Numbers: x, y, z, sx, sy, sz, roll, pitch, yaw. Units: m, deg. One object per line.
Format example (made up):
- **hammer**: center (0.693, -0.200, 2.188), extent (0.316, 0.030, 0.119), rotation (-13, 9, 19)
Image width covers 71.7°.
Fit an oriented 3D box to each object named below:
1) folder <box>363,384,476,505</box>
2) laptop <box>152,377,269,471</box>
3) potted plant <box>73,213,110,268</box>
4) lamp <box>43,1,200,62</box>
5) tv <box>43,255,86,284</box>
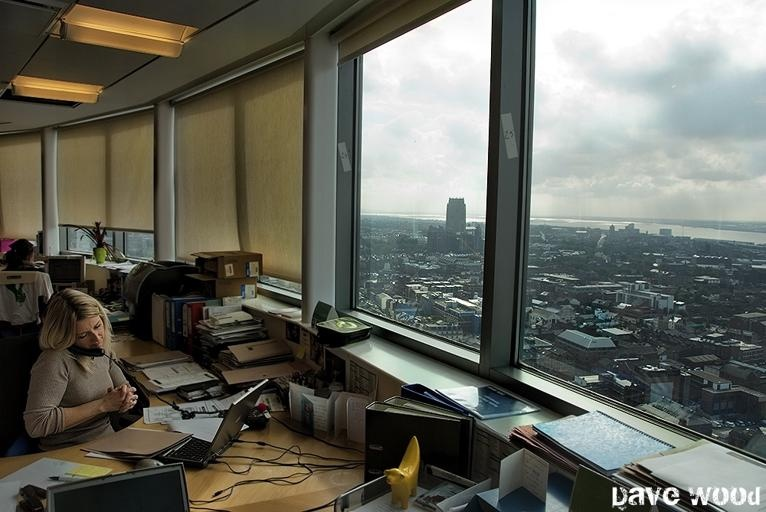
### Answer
- **folder**: center (0.143, 0.872, 2.523), extent (0.434, 0.483, 0.425), rotation (0, 3, -35)
- **laptop**: center (-0.949, 0.888, 2.890), extent (0.420, 0.297, 0.440), rotation (7, 1, 10)
- **potted plant**: center (-3.727, -0.173, 6.849), extent (0.475, 0.494, 0.421), rotation (-5, -3, 43)
- **lamp**: center (-1.847, -1.585, 3.786), extent (0.950, 0.139, 0.550), rotation (-1, 2, -24)
- **tv**: center (-3.370, 0.148, 5.608), extent (0.319, 0.266, 0.327), rotation (2, -3, -35)
